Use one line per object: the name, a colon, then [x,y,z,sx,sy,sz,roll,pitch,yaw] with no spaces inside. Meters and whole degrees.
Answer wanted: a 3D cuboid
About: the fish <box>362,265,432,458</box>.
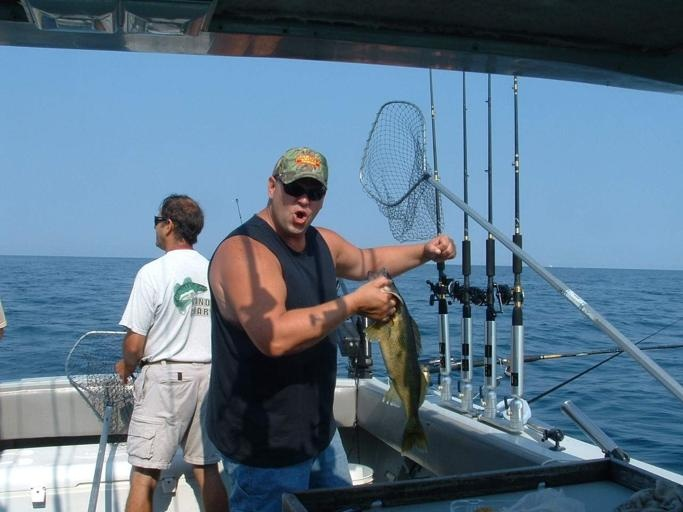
fish: [0.299,0.573,4.420,0.333,0.859,0.220,0,1,-6]
